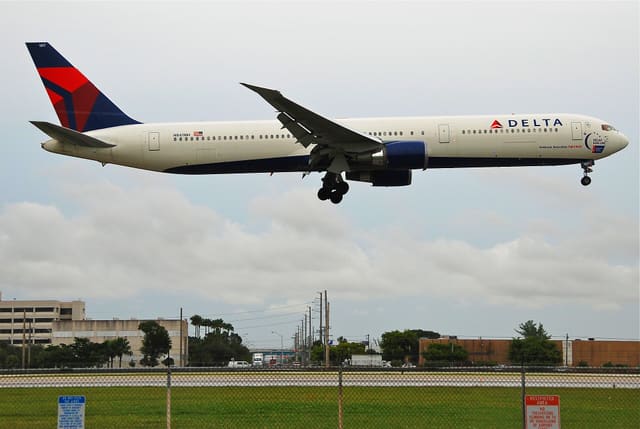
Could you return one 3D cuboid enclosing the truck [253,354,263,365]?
[{"bbox_3d":[-7.977,18.300,135.076,1.282,1.168,2.272,-1,-7,-1],"label":"truck"}]
